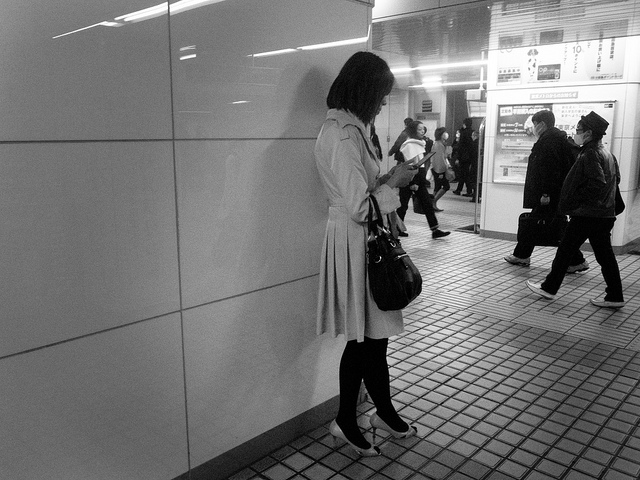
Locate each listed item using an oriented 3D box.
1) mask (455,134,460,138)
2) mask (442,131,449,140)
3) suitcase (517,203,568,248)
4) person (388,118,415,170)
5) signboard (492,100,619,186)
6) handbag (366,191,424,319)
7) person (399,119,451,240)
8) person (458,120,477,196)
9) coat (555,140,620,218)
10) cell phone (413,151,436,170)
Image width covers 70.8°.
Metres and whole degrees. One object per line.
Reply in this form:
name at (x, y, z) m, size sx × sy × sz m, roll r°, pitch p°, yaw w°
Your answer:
mask at (3.996, -3.028, 13.066) m, size 0.125 × 0.090 × 0.114 m, roll 4°, pitch 14°, yaw 15°
mask at (3.214, -2.666, 11.504) m, size 0.185 × 0.263 × 0.257 m, roll -2°, pitch -6°, yaw 15°
suitcase at (3.195, -0.245, 6.462) m, size 0.661 × 0.673 × 0.316 m, roll 4°, pitch 4°, yaw 21°
person at (1.699, -1.934, 9.850) m, size 0.285 × 0.948 × 0.283 m, roll -17°, pitch 28°, yaw -12°
signboard at (4.065, -1.733, 7.897) m, size 1.897 × 1.484 × 0.078 m, roll 3°, pitch -3°, yaw 10°
handbag at (0.427, 0.063, 2.581) m, size 0.276 × 0.658 × 0.209 m, roll 10°, pitch 15°, yaw 36°
person at (2.016, -1.227, 8.864) m, size 1.159 × 2.333 × 0.594 m, roll 14°, pitch -12°, yaw -33°
person at (4.383, -2.356, 13.376) m, size 0.465 × 2.157 × 1.273 m, roll 4°, pitch 13°, yaw 17°
coat at (3.190, -0.745, 5.345) m, size 0.591 × 0.863 × 0.995 m, roll 6°, pitch 14°, yaw 38°
cell phone at (0.606, -0.468, 2.637) m, size 0.110 × 0.093 × 0.265 m, roll 3°, pitch 14°, yaw 11°
